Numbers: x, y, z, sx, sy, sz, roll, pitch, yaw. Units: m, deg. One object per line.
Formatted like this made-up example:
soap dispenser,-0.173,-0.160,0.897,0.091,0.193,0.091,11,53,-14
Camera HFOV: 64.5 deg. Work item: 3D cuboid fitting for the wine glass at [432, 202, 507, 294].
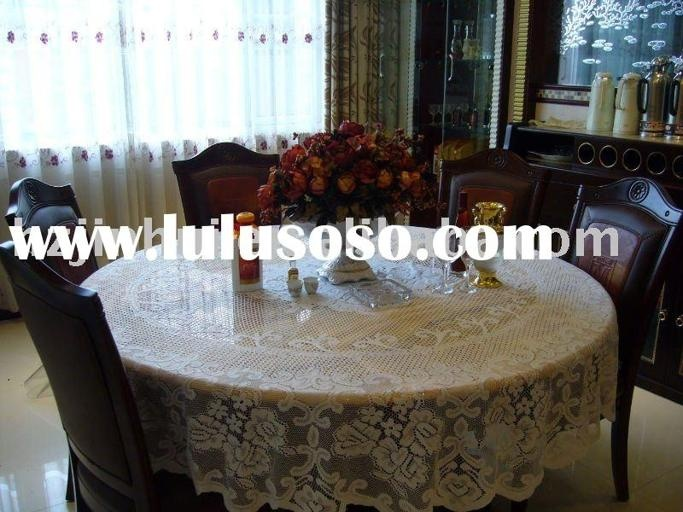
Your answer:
wine glass,0.504,-0.058,1.973,0.253,0.417,0.284,6,14,20

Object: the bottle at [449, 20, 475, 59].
bottle,0.828,-1.482,3.705,0.192,0.279,0.097,10,28,26

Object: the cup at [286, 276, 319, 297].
cup,-0.126,0.100,1.788,0.083,0.040,0.062,-7,25,-5

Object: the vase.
vase,-0.008,-0.036,1.908,0.187,0.209,0.205,10,26,-11
